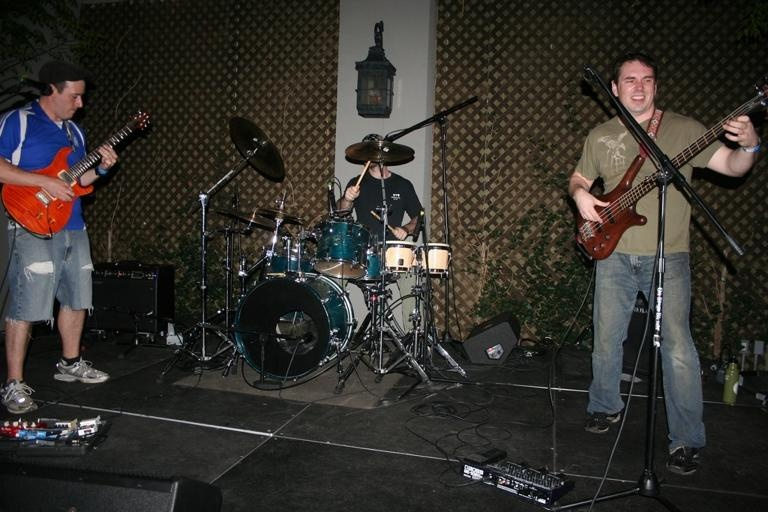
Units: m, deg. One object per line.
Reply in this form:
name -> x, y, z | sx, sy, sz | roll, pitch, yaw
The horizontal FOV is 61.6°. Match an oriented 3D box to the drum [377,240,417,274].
drum -> 0.127, 0.024, 5.439 | 0.258, 0.194, 0.261 | 3, -10, 0

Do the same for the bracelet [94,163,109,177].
bracelet -> -2.251, -0.692, 5.119 | 0.133, 0.062, 0.123 | -9, -13, 15

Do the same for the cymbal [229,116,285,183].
cymbal -> -1.113, -0.953, 5.787 | 0.549, 0.136, 0.566 | 4, -41, 45

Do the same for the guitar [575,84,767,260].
guitar -> 2.300, -0.603, 5.004 | 0.239, 0.523, 1.736 | -15, -19, -43

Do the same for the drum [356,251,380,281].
drum -> -0.134, 0.092, 5.558 | 0.209, 0.228, 0.211 | 6, -7, -12

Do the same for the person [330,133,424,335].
person -> -0.039, -0.493, 6.370 | 0.911, 1.312, 0.794 | 0, 4, -8

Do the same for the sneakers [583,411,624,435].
sneakers -> 1.631, 1.247, 4.795 | 0.280, 0.125, 0.124 | 1, -1, -25

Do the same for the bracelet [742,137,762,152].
bracelet -> 2.413, -0.715, 4.200 | 0.136, 0.077, 0.118 | -1, 5, 20

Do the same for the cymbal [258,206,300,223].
cymbal -> -0.928, -0.361, 5.728 | 0.257, 0.115, 0.400 | 2, -7, 26

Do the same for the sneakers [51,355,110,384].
sneakers -> -2.533, 0.968, 5.499 | 0.488, 0.228, 0.193 | 5, -1, -5

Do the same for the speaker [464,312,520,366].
speaker -> 1.024, 0.806, 6.184 | 0.436, 0.372, 0.559 | 4, 4, 14

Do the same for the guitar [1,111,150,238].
guitar -> -2.377, -0.744, 5.173 | 0.580, 1.467, 0.193 | 45, -30, -13

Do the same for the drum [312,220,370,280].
drum -> -0.322, -0.040, 5.539 | 0.496, 0.391, 0.506 | 10, -24, 5

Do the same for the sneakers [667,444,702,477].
sneakers -> 2.026, 1.389, 4.368 | 0.113, 0.134, 0.289 | 2, 3, 40

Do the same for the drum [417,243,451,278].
drum -> 0.416, 0.043, 5.603 | 0.276, 0.231, 0.257 | 11, -11, -38

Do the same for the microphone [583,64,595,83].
microphone -> 1.339, -1.189, 4.183 | 0.055, 0.098, 0.087 | -2, 18, 23

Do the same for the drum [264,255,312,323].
drum -> -0.819, 0.274, 5.478 | 0.567, 0.360, 0.571 | 2, -3, 0
